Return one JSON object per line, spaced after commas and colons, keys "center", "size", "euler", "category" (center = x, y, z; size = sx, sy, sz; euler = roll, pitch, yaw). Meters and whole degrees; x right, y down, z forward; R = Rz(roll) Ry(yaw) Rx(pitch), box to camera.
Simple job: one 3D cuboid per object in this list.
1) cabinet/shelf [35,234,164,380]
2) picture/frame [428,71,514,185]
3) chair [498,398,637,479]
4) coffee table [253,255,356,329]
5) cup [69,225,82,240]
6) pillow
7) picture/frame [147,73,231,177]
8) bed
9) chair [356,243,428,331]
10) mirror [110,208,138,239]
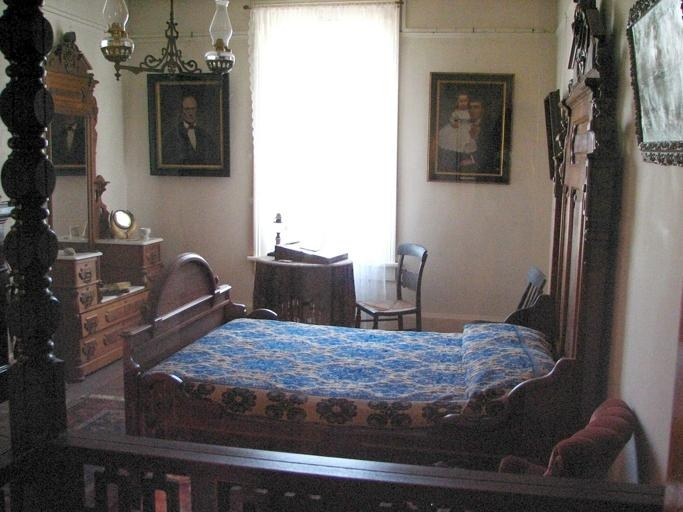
{"center": [-1.589, 0.350, 3.775], "size": [0.367, 0.668, 0.972], "euler": [3, 12, 5], "category": "cabinet/shelf"}
{"center": [1.252, -1.242, 5.423], "size": [0.989, 1.292, 0.083], "euler": [2, 5, 5], "category": "picture/frame"}
{"center": [0.906, 0.732, 2.246], "size": [0.562, 0.247, 0.363], "euler": [-6, 10, -42], "category": "chair"}
{"center": [-0.273, 0.297, 4.926], "size": [0.607, 0.472, 0.621], "euler": [0, 2, 4], "category": "coffee table"}
{"center": [-2.243, -0.195, 4.943], "size": [0.101, 0.100, 0.178], "euler": [9, 0, -23], "category": "cup"}
{"center": [0.821, 0.504, 2.847], "size": [0.275, 0.106, 0.461], "euler": [-8, 9, 8], "category": "pillow"}
{"center": [-1.501, -1.349, 5.780], "size": [0.976, 1.137, 0.088], "euler": [1, 5, 5], "category": "picture/frame"}
{"center": [0.049, 0.616, 3.151], "size": [1.974, 0.933, 1.163], "euler": [4, 10, 10], "category": "bed"}
{"center": [0.409, 0.378, 4.937], "size": [0.581, 0.895, 0.539], "euler": [-5, 9, -29], "category": "chair"}
{"center": [-2.005, -0.300, 5.254], "size": [0.205, 0.260, 0.092], "euler": [14, -25, -41], "category": "mirror"}
